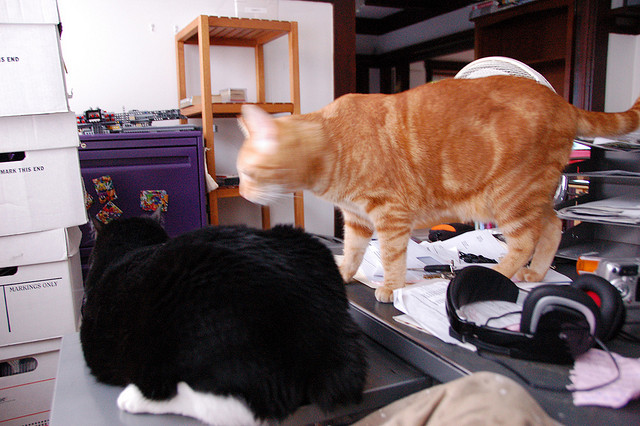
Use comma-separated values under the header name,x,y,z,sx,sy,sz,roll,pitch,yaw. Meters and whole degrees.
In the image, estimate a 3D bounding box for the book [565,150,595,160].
name,x,y,z,sx,sy,sz,roll,pitch,yaw
book,0.808,-0.179,1.396,0.084,0.019,0.082,-5,5,-36

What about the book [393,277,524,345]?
name,x,y,z,sx,sy,sz,roll,pitch,yaw
book,0.317,0.223,1.026,0.188,0.074,0.295,-11,15,-34

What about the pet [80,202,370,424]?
name,x,y,z,sx,sy,sz,roll,pitch,yaw
pet,-0.230,0.208,0.985,0.566,0.286,0.348,2,2,37

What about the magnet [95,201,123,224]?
name,x,y,z,sx,sy,sz,roll,pitch,yaw
magnet,-0.937,-0.002,1.993,0.023,0.072,0.099,-42,7,48
